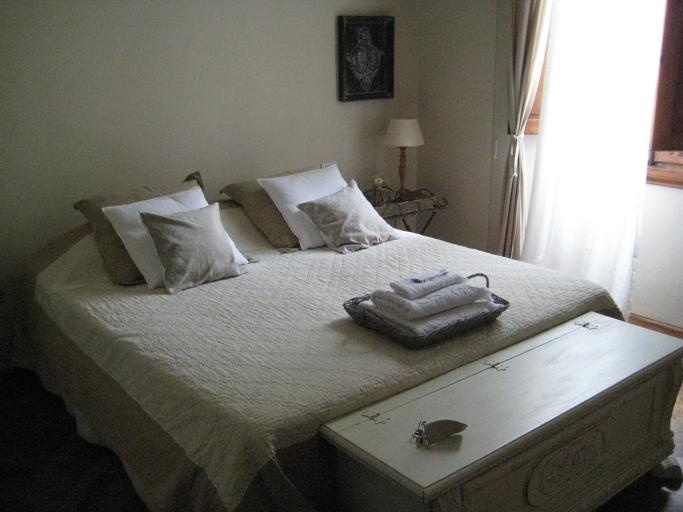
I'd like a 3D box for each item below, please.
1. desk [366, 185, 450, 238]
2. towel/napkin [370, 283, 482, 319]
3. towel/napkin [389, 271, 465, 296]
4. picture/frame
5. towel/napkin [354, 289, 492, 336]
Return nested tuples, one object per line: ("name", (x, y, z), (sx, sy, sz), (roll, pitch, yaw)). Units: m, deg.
("desk", (0.492, -0.447, 4.353), (0.642, 0.293, 0.424), (-20, 34, -38))
("towel/napkin", (0.413, 0.199, 2.330), (0.269, 0.066, 0.211), (-13, 16, -38))
("towel/napkin", (0.398, 0.121, 2.407), (0.250, 0.051, 0.145), (-16, 26, -35))
("picture/frame", (0.182, -1.653, 4.230), (0.736, 0.707, 0.085), (-9, 15, -43))
("towel/napkin", (0.419, 0.275, 2.307), (0.312, 0.080, 0.308), (-15, 26, -37))
